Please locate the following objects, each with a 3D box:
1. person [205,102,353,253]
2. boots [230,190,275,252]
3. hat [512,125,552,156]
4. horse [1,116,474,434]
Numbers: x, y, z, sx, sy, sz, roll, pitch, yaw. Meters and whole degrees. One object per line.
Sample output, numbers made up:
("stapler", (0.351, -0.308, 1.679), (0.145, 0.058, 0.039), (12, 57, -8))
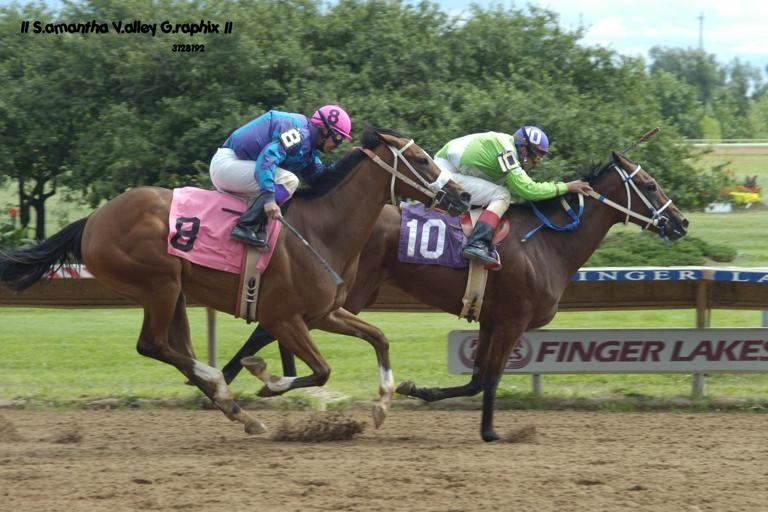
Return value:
("person", (-0.996, -0.764, 10.086), (1.069, 1.377, 0.704), (0, 4, -30))
("boots", (-1.228, -0.309, 9.806), (0.305, 0.505, 0.148), (0, 4, -34))
("hat", (1.573, -1.182, 10.769), (0.492, 0.174, 0.259), (14, 20, -7))
("horse", (-1.291, 0.251, 10.172), (3.932, 2.991, 0.846), (1, 4, -10))
